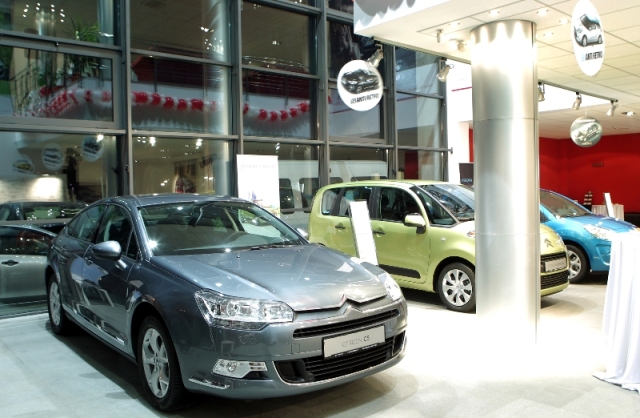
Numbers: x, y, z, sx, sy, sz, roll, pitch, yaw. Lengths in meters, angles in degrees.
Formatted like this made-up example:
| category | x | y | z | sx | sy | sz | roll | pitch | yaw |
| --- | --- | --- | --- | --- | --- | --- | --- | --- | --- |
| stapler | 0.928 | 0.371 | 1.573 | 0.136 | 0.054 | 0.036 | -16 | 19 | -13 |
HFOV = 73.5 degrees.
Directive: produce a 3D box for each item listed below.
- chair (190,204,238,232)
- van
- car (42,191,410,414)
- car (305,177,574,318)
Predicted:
| category | x | y | z | sx | sy | sz | roll | pitch | yaw |
| --- | --- | --- | --- | --- | --- | --- | --- | --- | --- |
| chair | -1.161 | 0.092 | 4.985 | 0.283 | 0.192 | 0.434 | 1 | -5 | -40 |
| van | 0.181 | -0.588 | 11.481 | 3.184 | 1.505 | 1.238 | -4 | 6 | -27 |
| car | -1.399 | 0.636 | 4.766 | 2.075 | 1.257 | 3.738 | -3 | 8 | -44 |
| car | 2.081 | 0.389 | 7.751 | 3.965 | 1.725 | 2.353 | 1 | 2 | 38 |
